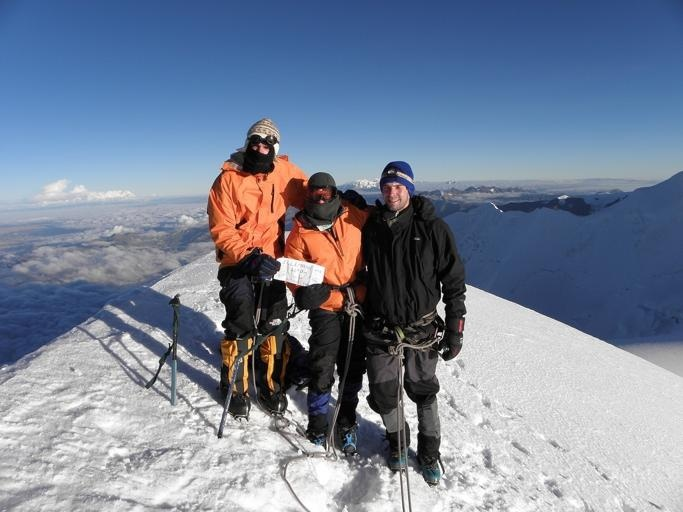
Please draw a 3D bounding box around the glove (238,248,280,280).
[{"bbox_3d":[-1.106,0.101,6.218,0.524,0.343,0.290,11,14,40],"label":"glove"}]

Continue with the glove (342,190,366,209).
[{"bbox_3d":[0.176,-0.800,6.473,0.335,0.230,0.102,8,-24,13],"label":"glove"}]

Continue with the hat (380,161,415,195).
[{"bbox_3d":[0.731,-1.014,6.007,0.443,0.414,0.429,3,11,5],"label":"hat"}]

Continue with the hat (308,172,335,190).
[{"bbox_3d":[-0.252,-0.992,6.132,0.376,0.219,0.316,1,11,-3],"label":"hat"}]

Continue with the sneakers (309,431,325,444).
[{"bbox_3d":[-0.336,2.544,6.413,0.233,0.095,0.130,21,31,-18],"label":"sneakers"}]

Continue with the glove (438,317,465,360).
[{"bbox_3d":[1.450,1.115,6.221,0.440,0.508,0.204,3,0,-12],"label":"glove"}]

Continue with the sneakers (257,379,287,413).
[{"bbox_3d":[-1.020,2.098,6.807,0.308,0.221,0.488,-14,57,-26],"label":"sneakers"}]
